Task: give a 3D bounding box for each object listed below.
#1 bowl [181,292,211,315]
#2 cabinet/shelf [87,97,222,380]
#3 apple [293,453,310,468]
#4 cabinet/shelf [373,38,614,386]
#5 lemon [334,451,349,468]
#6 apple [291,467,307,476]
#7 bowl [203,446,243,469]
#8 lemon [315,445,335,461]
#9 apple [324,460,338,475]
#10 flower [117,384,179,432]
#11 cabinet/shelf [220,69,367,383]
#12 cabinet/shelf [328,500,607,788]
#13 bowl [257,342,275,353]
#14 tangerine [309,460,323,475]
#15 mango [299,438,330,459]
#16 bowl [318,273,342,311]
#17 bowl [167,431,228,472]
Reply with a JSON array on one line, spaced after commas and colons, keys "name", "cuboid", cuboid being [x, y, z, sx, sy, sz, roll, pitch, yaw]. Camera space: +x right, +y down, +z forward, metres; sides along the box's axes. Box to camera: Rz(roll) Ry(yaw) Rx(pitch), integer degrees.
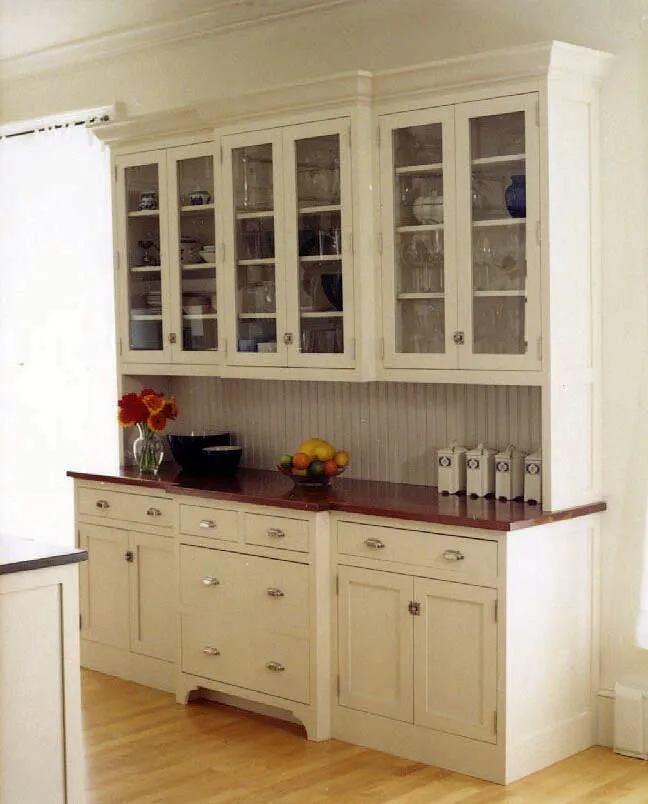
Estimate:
[{"name": "bowl", "cuboid": [-0.496, -0.376, 3.168, 0.100, 0.048, 0.088, -1, 2, -25]}, {"name": "cabinet/shelf", "cuboid": [-0.666, -0.607, 3.233, 0.205, 0.977, 0.616, -2, 0, -43]}, {"name": "apple", "cuboid": [-0.078, 0.198, 2.773, 0.051, 0.046, 0.048, 10, 5, 15]}, {"name": "cabinet/shelf", "cuboid": [0.454, -0.523, 2.418, 0.735, 0.995, 0.305, -2, 0, 31]}, {"name": "lemon", "cuboid": [0.049, 0.197, 2.860, 0.051, 0.057, 0.052, 13, 2, 19]}, {"name": "apple", "cuboid": [-0.086, 0.238, 2.802, 0.064, 0.026, 0.016, -2, 0, 40]}, {"name": "bowl", "cuboid": [-0.395, 0.208, 3.139, 0.104, 0.060, 0.100, -2, 0, 0]}, {"name": "lemon", "cuboid": [0.004, 0.171, 2.800, 0.066, 0.054, 0.041, -2, 0, -16]}, {"name": "apple", "cuboid": [0.029, 0.222, 2.785, 0.055, 0.054, 0.025, -2, 0, -42]}, {"name": "flower", "cuboid": [-0.710, 0.014, 3.261, 0.204, 0.166, 0.202, 7, 11, 28]}, {"name": "cabinet/shelf", "cuboid": [-0.105, -0.552, 2.774, 0.183, 0.992, 0.726, -2, 0, -45]}, {"name": "cabinet/shelf", "cuboid": [0.324, 0.563, 2.713, 0.920, 0.954, 0.685, 1, 1, 40]}, {"name": "bowl", "cuboid": [-0.205, -0.191, 2.888, 0.064, 0.039, 0.034, -1, -3, 27]}, {"name": "tangerine", "cuboid": [-0.025, 0.226, 2.774, 0.052, 0.040, 0.041, -10, 16, -2]}, {"name": "mango", "cuboid": [-0.033, 0.159, 2.812, 0.058, 0.051, 0.086, 7, 8, 43]}, {"name": "bowl", "cuboid": [0.029, -0.364, 2.690, 0.027, 0.102, 0.114, -4, 8, -31]}, {"name": "bowl", "cuboid": [-0.522, 0.193, 3.258, 0.175, 0.101, 0.174, -1, -3, 0]}]
